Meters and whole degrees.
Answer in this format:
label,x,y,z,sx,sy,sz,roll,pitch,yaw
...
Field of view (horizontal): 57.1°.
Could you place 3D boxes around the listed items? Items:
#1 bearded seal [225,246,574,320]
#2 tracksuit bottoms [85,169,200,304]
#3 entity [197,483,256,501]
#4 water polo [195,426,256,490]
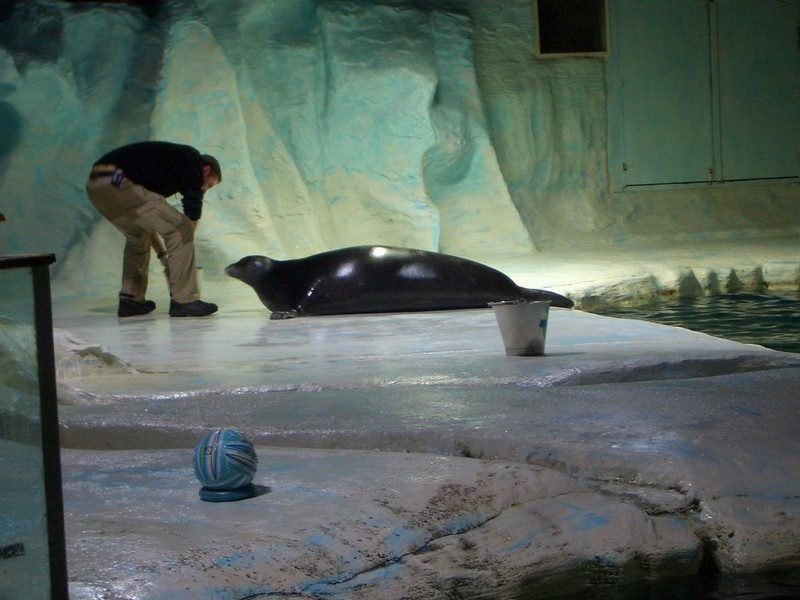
label,x,y,z,sx,sy,sz,roll,pitch,yaw
bearded seal,-0.169,-0.144,5.304,2.128,0.493,0.409,0,4,-3
tracksuit bottoms,-1.856,-0.473,5.392,0.987,0.904,0.710,-2,23,-31
entity,-0.371,0.418,1.607,0.126,0.025,0.072,-1,2,-18
water polo,-0.371,0.351,1.636,0.181,0.082,0.125,-5,-6,8
